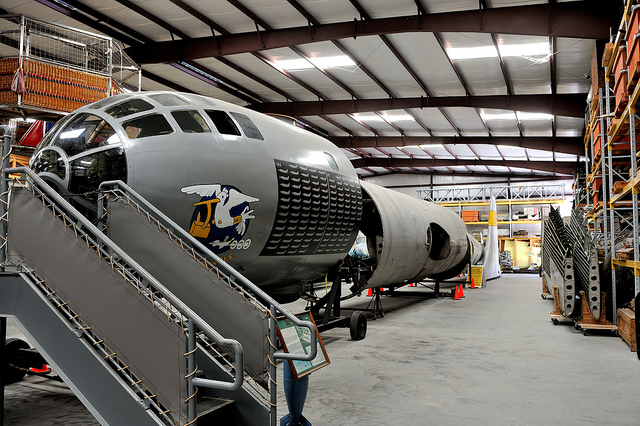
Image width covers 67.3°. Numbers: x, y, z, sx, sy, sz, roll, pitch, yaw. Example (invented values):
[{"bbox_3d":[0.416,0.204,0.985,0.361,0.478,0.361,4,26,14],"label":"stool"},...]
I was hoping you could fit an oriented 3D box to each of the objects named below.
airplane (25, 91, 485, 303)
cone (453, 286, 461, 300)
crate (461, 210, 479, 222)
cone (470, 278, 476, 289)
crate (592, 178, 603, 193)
[{"bbox_3d":[1.594,0.410,15.557,5.217,4.262,19.691,-9,-15,38],"label":"airplane"},{"bbox_3d":[5.697,3.328,19.794,0.488,0.547,0.447,-2,-5,8],"label":"cone"},{"bbox_3d":[12.899,0.277,40.698,1.340,0.863,0.940,-1,-1,23],"label":"crate"},{"bbox_3d":[7.978,3.630,24.869,0.280,0.407,0.686,-1,-1,16],"label":"cone"},{"bbox_3d":[10.856,-1.128,18.639,0.201,0.452,0.708,-1,-1,21],"label":"crate"}]
